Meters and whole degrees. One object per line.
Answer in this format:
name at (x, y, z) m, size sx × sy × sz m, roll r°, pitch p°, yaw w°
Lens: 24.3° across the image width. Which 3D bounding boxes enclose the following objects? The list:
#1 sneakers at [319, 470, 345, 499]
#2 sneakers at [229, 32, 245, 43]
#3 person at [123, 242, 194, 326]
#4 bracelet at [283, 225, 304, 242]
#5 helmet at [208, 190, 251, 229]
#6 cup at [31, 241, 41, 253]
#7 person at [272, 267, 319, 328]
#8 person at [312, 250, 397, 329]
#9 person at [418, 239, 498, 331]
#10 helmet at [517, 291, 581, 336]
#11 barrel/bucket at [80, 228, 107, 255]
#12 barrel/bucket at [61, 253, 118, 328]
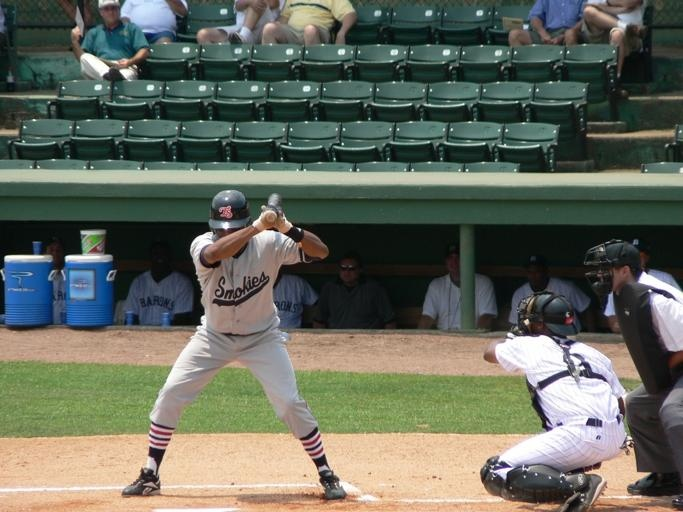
sneakers at (-0.096, 2.379, 16.481) m, size 0.170 × 0.359 × 0.175 m, roll -12°, pitch -34°, yaw -11°
sneakers at (-1.669, -3.417, 25.109) m, size 0.278 × 0.103 × 0.119 m, roll 39°, pitch 14°, yaw 2°
person at (-2.578, 0.634, 21.881) m, size 0.922 × 1.573 × 0.504 m, roll 4°, pitch -22°, yaw 0°
bracelet at (-0.477, -0.217, 16.420) m, size 0.128 × 0.134 × 0.179 m, roll -44°, pitch -1°, yaw 1°
helmet at (-1.175, -0.462, 16.699) m, size 0.455 × 0.483 × 0.579 m, roll -2°, pitch 3°, yaw 15°
cup at (-4.175, -0.117, 21.679) m, size 0.159 × 0.183 × 0.164 m, roll 3°, pitch 2°, yaw 0°
person at (-0.636, 0.593, 21.440) m, size 0.774 × 0.658 × 0.272 m, roll 2°, pitch -7°, yaw -18°
person at (0.169, 0.576, 21.719) m, size 1.159 × 1.200 × 0.642 m, roll 0°, pitch -3°, yaw 14°
person at (1.504, 0.470, 21.482) m, size 1.155 × 1.548 × 1.070 m, roll 1°, pitch 9°, yaw 14°
helmet at (2.139, 0.616, 16.332) m, size 0.649 × 0.511 × 0.577 m, roll 9°, pitch 12°, yaw 26°
barrel/bucket at (-3.346, -0.182, 21.344) m, size 0.309 × 0.282 × 0.359 m, roll 1°, pitch 0°, yaw -5°
barrel/bucket at (-3.394, 0.433, 21.426) m, size 1.018 × 1.354 × 0.810 m, roll 0°, pitch -2°, yaw -5°
